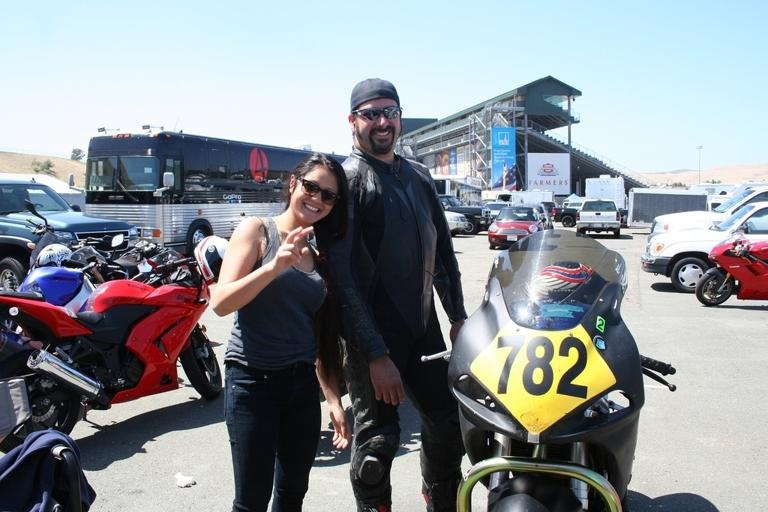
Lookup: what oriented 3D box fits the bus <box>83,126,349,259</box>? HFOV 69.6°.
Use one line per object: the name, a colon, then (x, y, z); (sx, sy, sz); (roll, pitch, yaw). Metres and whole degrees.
bus: (-6.313, -2.953, 23.552); (3.267, 3.790, 13.630); (6, 10, 16)
